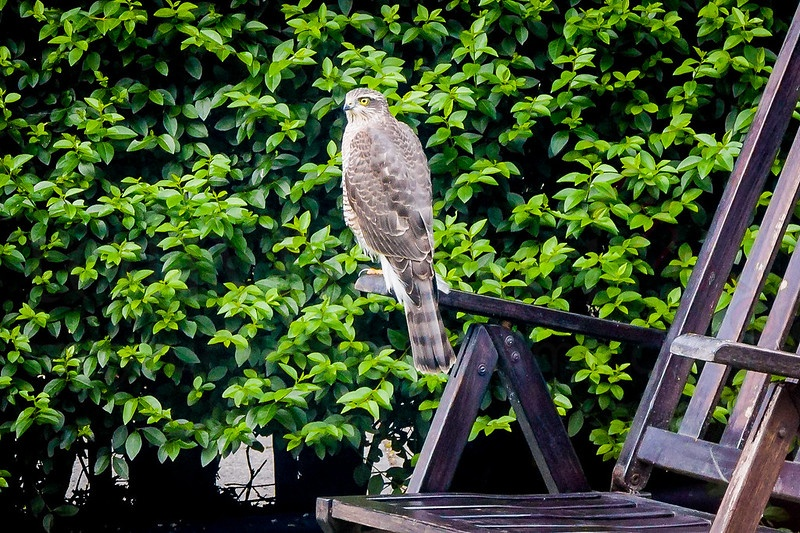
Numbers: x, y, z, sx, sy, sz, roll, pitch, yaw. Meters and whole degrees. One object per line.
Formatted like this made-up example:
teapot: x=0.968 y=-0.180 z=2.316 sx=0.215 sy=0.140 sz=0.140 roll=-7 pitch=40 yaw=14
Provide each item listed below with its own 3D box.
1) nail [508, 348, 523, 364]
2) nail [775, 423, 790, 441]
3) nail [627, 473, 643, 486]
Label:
nail: x=0.419 y=0.332 z=4.950 sx=0.041 sy=0.040 sz=0.010 roll=33 pitch=-12 yaw=-24
nail: x=1.208 y=0.527 z=4.278 sx=0.038 sy=0.037 sz=0.013 roll=7 pitch=2 yaw=-13
nail: x=0.871 y=0.787 z=4.976 sx=0.048 sy=0.047 sz=0.013 roll=10 pitch=-3 yaw=-8
